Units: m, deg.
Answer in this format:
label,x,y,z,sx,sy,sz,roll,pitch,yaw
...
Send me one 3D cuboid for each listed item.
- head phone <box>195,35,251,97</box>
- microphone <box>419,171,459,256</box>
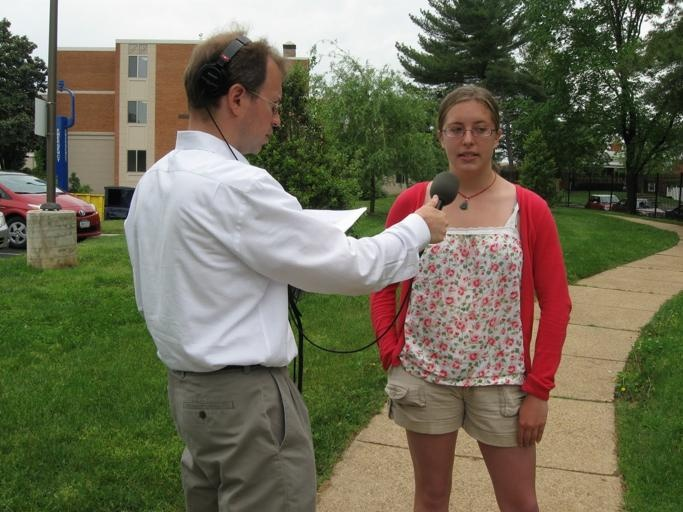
label,x,y,z,sx,sy,sz,roll,pitch,yaw
head phone,-0.612,-0.947,3.267,0.122,0.333,0.335,36,2,-13
microphone,0.547,-0.259,3.659,0.216,0.510,0.211,5,7,21
